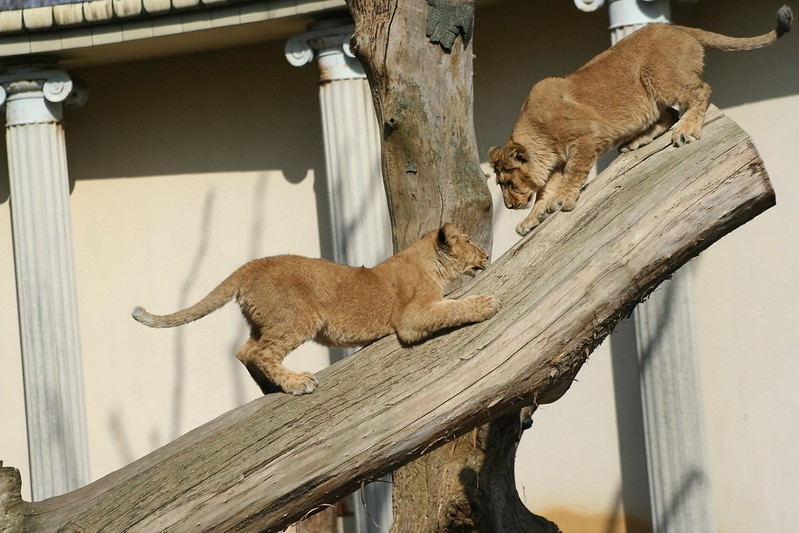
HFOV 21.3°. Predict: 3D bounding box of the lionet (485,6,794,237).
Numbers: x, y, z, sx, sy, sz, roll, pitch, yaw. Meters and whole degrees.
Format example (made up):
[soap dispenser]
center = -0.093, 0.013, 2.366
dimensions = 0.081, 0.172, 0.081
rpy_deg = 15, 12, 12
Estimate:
[lionet]
center = 2.722, -1.517, 22.867
dimensions = 2.924, 1.116, 0.892
rpy_deg = -39, 14, 7
